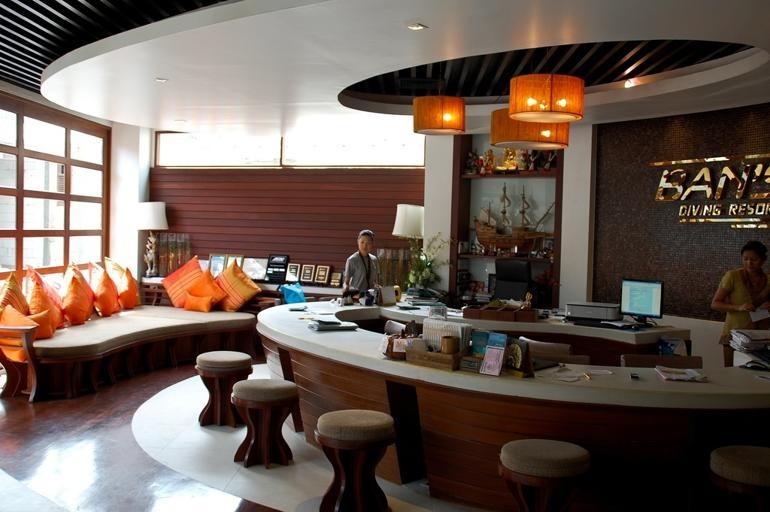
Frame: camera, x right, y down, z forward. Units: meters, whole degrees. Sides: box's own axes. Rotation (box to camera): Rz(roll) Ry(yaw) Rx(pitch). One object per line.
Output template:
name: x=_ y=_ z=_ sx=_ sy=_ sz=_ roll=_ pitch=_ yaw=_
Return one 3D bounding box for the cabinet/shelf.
cabinet/shelf: x=2.009 y=-0.628 z=8.278 sx=1.764 sy=2.771 sz=0.796 roll=5 pitch=7 yaw=35

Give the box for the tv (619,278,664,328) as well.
tv: x=2.996 y=0.558 z=5.923 sx=0.602 sy=0.582 sz=0.224 roll=4 pitch=12 yaw=26

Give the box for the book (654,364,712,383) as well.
book: x=2.326 y=0.924 z=3.959 sx=0.359 sy=0.043 sz=0.248 roll=1 pitch=6 yaw=7

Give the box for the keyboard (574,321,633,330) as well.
keyboard: x=2.527 y=0.787 z=5.856 sx=0.634 sy=0.075 sz=0.165 roll=4 pitch=6 yaw=27

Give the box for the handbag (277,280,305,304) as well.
handbag: x=-1.676 y=0.645 z=8.927 sx=0.355 sy=0.374 sz=0.217 roll=0 pitch=-30 yaw=-49

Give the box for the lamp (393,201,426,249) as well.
lamp: x=0.324 y=-0.553 z=8.947 sx=0.734 sy=0.684 sz=0.693 roll=2 pitch=-4 yaw=-1

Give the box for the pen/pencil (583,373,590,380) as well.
pen/pencil: x=1.570 y=0.937 z=3.932 sx=0.030 sy=0.024 sz=0.104 roll=-25 pitch=3 yaw=13

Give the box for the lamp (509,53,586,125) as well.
lamp: x=1.447 y=-1.556 z=4.741 sx=0.593 sy=0.259 sz=0.551 roll=1 pitch=-1 yaw=-14

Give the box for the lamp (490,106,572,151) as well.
lamp: x=1.803 y=-1.503 z=5.785 sx=0.886 sy=0.338 sz=0.845 roll=-11 pitch=21 yaw=-32

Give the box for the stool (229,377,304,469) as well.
stool: x=-1.185 y=1.653 z=5.038 sx=0.698 sy=0.690 sz=0.642 roll=0 pitch=-13 yaw=0

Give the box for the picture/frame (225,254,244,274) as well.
picture/frame: x=-2.859 y=0.154 z=9.562 sx=0.406 sy=0.351 sz=0.016 roll=1 pitch=-16 yaw=-1

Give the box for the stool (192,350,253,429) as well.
stool: x=-1.855 y=1.562 z=5.916 sx=0.702 sy=0.721 sz=0.690 roll=9 pitch=-15 yaw=-41

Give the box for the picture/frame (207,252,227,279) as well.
picture/frame: x=-3.236 y=0.196 z=9.748 sx=0.532 sy=0.484 sz=0.040 roll=0 pitch=-4 yaw=10

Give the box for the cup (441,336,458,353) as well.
cup: x=0.519 y=0.716 z=4.123 sx=0.148 sy=0.123 sz=0.121 roll=0 pitch=5 yaw=-16

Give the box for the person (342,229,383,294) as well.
person: x=-0.358 y=0.070 z=7.291 sx=0.471 sy=0.859 sz=1.335 roll=1 pitch=6 yaw=-3
